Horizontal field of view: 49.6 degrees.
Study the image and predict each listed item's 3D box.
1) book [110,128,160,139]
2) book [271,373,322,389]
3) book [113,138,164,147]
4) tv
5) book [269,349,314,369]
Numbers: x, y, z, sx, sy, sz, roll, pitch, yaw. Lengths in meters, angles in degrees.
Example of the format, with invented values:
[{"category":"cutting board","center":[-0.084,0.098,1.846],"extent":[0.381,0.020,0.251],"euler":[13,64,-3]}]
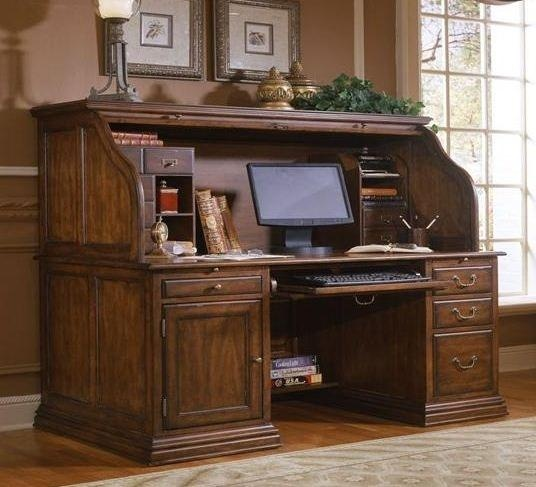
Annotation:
[{"category":"book","center":[-0.624,-0.506,2.690],"extent":[0.195,0.049,0.232],"euler":[-3,1,-14]},{"category":"book","center":[0.133,0.711,2.999],"extent":[0.140,0.029,0.150],"euler":[-5,-7,40]},{"category":"book","center":[-0.595,-0.454,2.604],"extent":[0.108,0.018,0.097],"euler":[-1,4,-33]},{"category":"tv","center":[0.162,-0.197,3.015],"extent":[0.601,0.391,0.196],"euler":[1,-4,-27]},{"category":"book","center":[0.117,0.611,3.048],"extent":[0.259,0.049,0.230],"euler":[1,-2,-34]}]
